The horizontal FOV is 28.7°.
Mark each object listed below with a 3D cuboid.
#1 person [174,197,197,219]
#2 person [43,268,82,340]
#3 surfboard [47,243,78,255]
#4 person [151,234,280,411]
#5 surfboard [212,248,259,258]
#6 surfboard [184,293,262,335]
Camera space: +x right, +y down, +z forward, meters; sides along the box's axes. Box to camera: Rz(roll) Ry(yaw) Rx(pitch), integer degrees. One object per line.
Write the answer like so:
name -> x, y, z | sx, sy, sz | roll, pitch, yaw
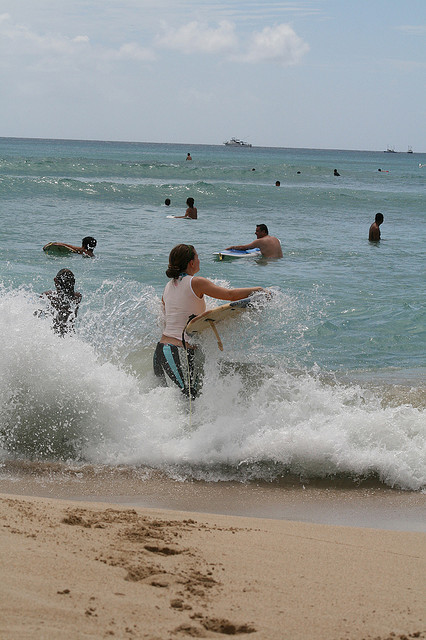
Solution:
person -> -0.777, -2.929, 22.037 | 0.770, 0.653, 0.389 | 4, 8, 15
person -> -1.350, -0.163, 7.565 | 0.351, 0.275, 0.811 | 1, 42, -21
surfboard -> -2.575, -1.223, 14.207 | 0.554, 0.170, 0.117 | 10, 5, 17
person -> 0.076, 0.169, 6.216 | 0.987, 1.440, 0.745 | 3, 6, 18
surfboard -> 0.479, -1.268, 15.613 | 0.278, 0.137, 1.007 | 26, 21, 29
surfboard -> 0.086, -0.054, 5.889 | 0.339, 0.356, 0.480 | 5, 7, -42
